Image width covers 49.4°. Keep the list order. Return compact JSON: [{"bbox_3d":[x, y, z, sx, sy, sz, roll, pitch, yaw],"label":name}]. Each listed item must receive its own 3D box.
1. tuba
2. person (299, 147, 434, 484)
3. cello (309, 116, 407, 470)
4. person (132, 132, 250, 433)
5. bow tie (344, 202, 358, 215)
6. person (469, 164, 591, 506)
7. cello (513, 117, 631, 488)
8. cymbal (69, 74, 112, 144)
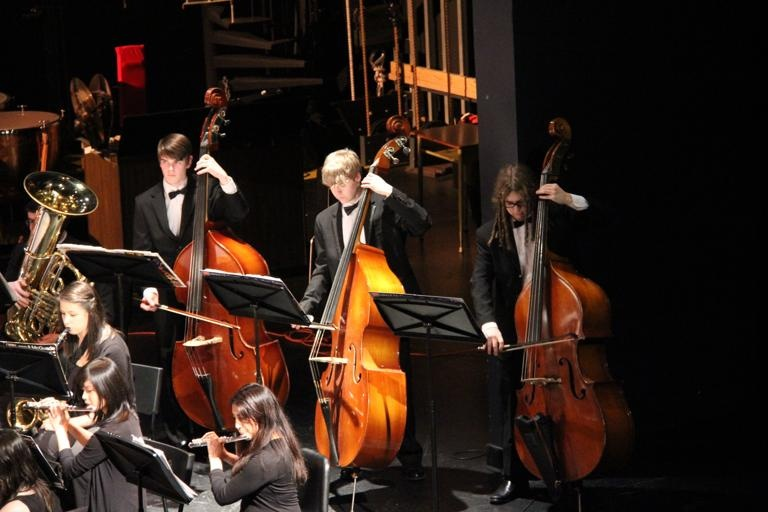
[{"bbox_3d":[-2.855,0.020,7.020,0.681,1.674,0.773,9,-18,-16],"label":"tuba"},{"bbox_3d":[-0.147,0.222,6.060,0.965,2.387,1.075,-20,-36,21],"label":"person"},{"bbox_3d":[-0.219,0.306,6.058,0.740,2.281,0.781,-20,-30,35],"label":"cello"},{"bbox_3d":[-1.646,0.271,6.841,0.864,2.462,0.800,2,10,14],"label":"person"},{"bbox_3d":[-0.249,-0.351,6.175,0.080,0.063,0.093,-13,16,38],"label":"bow tie"},{"bbox_3d":[0.987,0.549,5.890,0.844,2.265,0.759,2,-4,3],"label":"person"},{"bbox_3d":[1.282,0.322,5.653,0.959,2.427,0.756,-2,7,-2],"label":"cello"},{"bbox_3d":[-3.614,-1.771,10.309,0.467,0.921,0.592,1,1,-21],"label":"cymbal"}]
